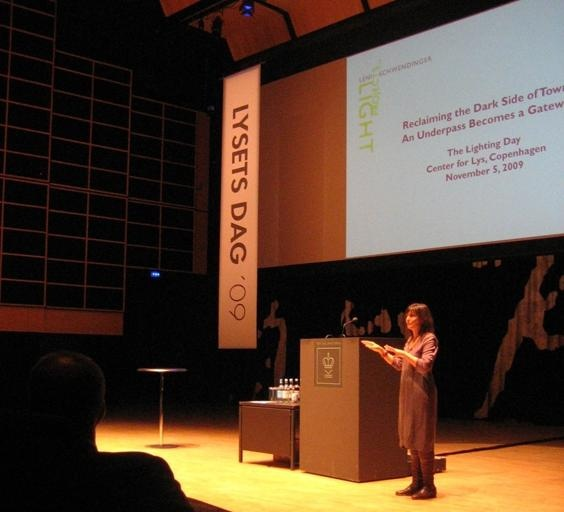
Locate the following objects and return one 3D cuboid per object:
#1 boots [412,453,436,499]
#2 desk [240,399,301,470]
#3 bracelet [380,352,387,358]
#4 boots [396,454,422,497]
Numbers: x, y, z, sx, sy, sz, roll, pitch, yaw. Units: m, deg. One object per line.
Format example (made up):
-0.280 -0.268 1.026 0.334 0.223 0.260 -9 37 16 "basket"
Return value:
1.039 1.567 4.036 0.284 0.219 0.137 18 -8 -43 "boots"
-0.153 1.610 5.487 0.414 0.605 0.630 6 7 7 "desk"
0.751 0.732 4.219 0.044 0.042 0.050 2 0 7 "bracelet"
0.943 1.608 4.115 0.215 0.113 0.340 -6 42 14 "boots"
